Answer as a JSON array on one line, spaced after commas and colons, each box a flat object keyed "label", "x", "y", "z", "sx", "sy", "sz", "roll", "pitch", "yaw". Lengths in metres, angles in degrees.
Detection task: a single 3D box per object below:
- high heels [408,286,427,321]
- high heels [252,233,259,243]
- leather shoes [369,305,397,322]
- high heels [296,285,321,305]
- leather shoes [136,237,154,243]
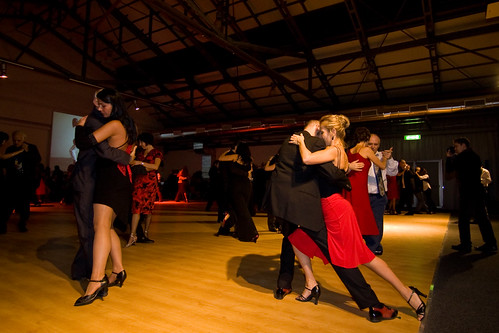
[{"label": "high heels", "x": 1.948, "y": 1.609, "z": 3.761, "sx": 0.083, "sy": 0.368, "sz": 0.124, "roll": -17, "pitch": 5, "yaw": 26}, {"label": "high heels", "x": 0.108, "y": 1.339, "z": 6.020, "sx": 0.075, "sy": 0.252, "sz": 0.098, "roll": 8, "pitch": 7, "yaw": -5}, {"label": "leather shoes", "x": 1.511, "y": 1.669, "z": 3.717, "sx": 0.326, "sy": 0.152, "sz": 0.152, "roll": -2, "pitch": -7, "yaw": -13}, {"label": "high heels", "x": 0.765, "y": 1.576, "z": 3.991, "sx": 0.348, "sy": 0.242, "sz": 0.154, "roll": -3, "pitch": -14, "yaw": 30}, {"label": "leather shoes", "x": -1.944, "y": 1.362, "z": 6.024, "sx": 0.326, "sy": 0.090, "sz": 0.120, "roll": -1, "pitch": -10, "yaw": 5}]
